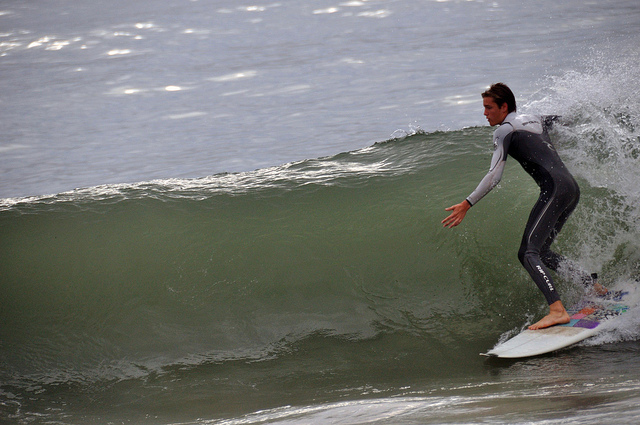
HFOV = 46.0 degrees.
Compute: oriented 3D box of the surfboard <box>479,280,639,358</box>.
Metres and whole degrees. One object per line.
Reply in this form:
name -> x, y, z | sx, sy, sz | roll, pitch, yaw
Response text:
surfboard -> 2.939, 1.319, 9.115 | 2.395, 0.237, 0.371 | -15, 38, -12
